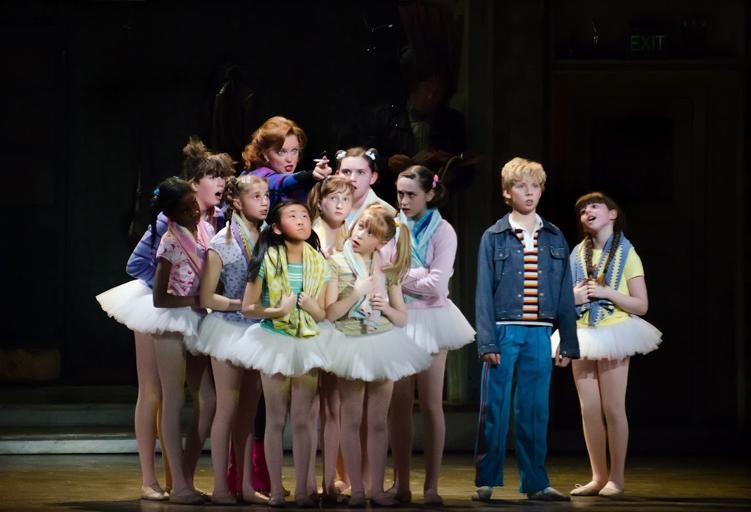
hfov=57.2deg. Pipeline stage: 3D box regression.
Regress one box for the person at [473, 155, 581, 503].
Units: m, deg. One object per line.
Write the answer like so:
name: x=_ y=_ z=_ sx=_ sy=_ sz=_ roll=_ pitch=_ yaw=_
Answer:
person: x=0.928 y=0.436 z=4.262 sx=0.641 sy=2.094 sz=0.301 roll=0 pitch=-2 yaw=10

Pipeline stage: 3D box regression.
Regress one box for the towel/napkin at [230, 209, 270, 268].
towel/napkin: x=-0.729 y=-0.114 z=3.956 sx=0.191 sy=0.322 sz=0.075 roll=14 pitch=-38 yaw=-42

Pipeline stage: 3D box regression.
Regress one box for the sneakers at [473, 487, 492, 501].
sneakers: x=0.645 y=1.433 z=4.149 sx=0.061 sy=0.049 sz=0.115 roll=-2 pitch=-10 yaw=15

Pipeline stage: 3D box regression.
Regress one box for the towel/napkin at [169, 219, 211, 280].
towel/napkin: x=-1.094 y=-0.043 z=4.103 sx=0.232 sy=0.322 sz=0.133 roll=-5 pitch=-1 yaw=-20

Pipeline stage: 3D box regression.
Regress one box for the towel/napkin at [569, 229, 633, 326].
towel/napkin: x=1.486 y=0.132 z=4.582 sx=0.381 sy=0.590 sz=0.331 roll=-3 pitch=-9 yaw=39

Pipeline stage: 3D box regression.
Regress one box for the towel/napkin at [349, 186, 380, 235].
towel/napkin: x=-0.095 y=-0.283 z=4.202 sx=0.102 sy=0.246 sz=0.190 roll=41 pitch=-13 yaw=29

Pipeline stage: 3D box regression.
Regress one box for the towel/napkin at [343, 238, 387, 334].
towel/napkin: x=-0.060 y=0.166 z=3.921 sx=0.273 sy=0.478 sz=0.152 roll=0 pitch=-1 yaw=-7

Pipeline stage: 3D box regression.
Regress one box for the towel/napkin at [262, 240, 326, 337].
towel/napkin: x=-0.474 y=0.198 z=3.869 sx=0.490 sy=0.639 sz=0.176 roll=3 pitch=-13 yaw=-12
